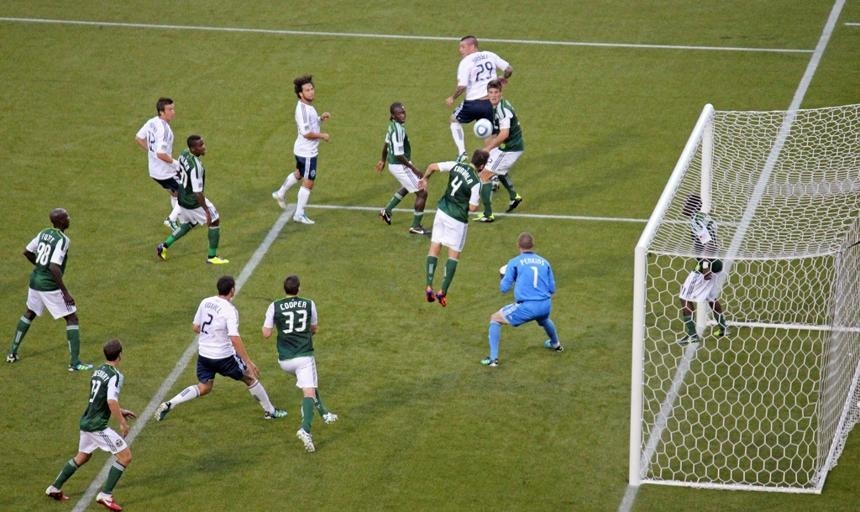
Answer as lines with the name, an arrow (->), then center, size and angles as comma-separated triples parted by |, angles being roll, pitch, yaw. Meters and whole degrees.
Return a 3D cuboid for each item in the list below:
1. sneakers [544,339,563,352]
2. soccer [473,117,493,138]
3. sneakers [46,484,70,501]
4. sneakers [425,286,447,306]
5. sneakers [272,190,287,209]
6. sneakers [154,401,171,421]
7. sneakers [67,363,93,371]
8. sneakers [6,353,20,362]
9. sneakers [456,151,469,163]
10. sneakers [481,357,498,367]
sneakers -> 2.234, 1.681, 24.956 | 0.158, 0.159, 0.398 | -25, 35, -36
soccer -> 1.134, -2.724, 28.523 | 0.380, 0.370, 0.435 | 2, 20, 11
sneakers -> -6.359, 4.027, 22.446 | 0.505, 0.236, 0.156 | 20, 24, -29
sneakers -> 0.071, 0.802, 25.667 | 0.499, 0.206, 0.272 | 10, 5, 28
sneakers -> -3.283, -1.202, 28.751 | 0.238, 0.501, 0.184 | -23, 51, 7
sneakers -> -4.791, 2.764, 23.562 | 0.245, 0.498, 0.179 | -1, 62, -27
sneakers -> -6.474, 2.045, 24.637 | 0.515, 0.184, 0.165 | -1, 7, -1
sneakers -> -7.833, 1.910, 24.757 | 0.140, 0.129, 0.210 | 8, 16, -9
sneakers -> 0.677, -2.198, 29.614 | 0.223, 0.217, 0.547 | 0, 9, -2
sneakers -> 1.062, 1.982, 24.699 | 0.345, 0.123, 0.126 | 5, 10, 23
